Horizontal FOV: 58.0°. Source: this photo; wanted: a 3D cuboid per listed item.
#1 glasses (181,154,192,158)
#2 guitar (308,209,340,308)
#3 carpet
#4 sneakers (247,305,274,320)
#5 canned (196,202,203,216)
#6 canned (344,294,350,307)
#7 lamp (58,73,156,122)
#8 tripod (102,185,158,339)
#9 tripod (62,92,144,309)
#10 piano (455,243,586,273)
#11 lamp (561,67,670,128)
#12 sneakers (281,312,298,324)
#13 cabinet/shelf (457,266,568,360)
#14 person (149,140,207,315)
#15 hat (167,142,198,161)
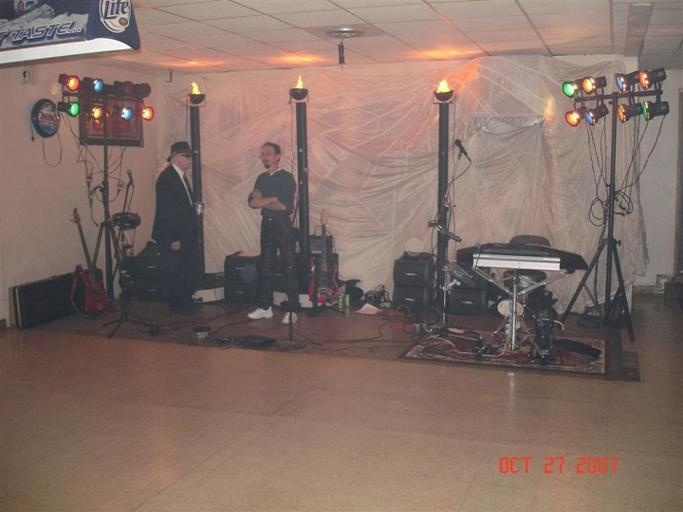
[{"bbox_3d":[-2.051,-1.335,8.237,0.024,0.045,0.105,22,18,25],"label":"glasses"},{"bbox_3d":[-0.219,0.044,7.948,0.389,1.206,0.687,-1,13,-2],"label":"guitar"},{"bbox_3d":[1.785,0.932,6.419,1.943,0.010,1.333,1,12,21],"label":"carpet"},{"bbox_3d":[-0.993,0.698,7.687,0.341,0.157,0.263,-4,13,-15],"label":"sneakers"},{"bbox_3d":[-1.892,-0.644,8.370,0.091,0.128,0.125,-1,-1,-2],"label":"canned"},{"bbox_3d":[0.086,0.589,8.207,0.059,0.153,0.168,-1,13,-1],"label":"canned"},{"bbox_3d":[-2.989,-2.014,7.819,1.112,0.540,0.749,-7,14,-24],"label":"lamp"},{"bbox_3d":[-2.654,0.150,7.597,0.632,1.294,2.032,-6,14,-20],"label":"tripod"},{"bbox_3d":[-3.181,-0.840,8.484,1.421,2.992,0.834,13,18,9],"label":"tripod"},{"bbox_3d":[1.817,0.021,6.275,1.290,0.318,0.353,2,13,13],"label":"piano"},{"bbox_3d":[3.145,-1.784,7.070,1.048,0.595,1.446,5,14,25],"label":"lamp"},{"bbox_3d":[-0.620,0.716,7.315,0.165,0.076,0.227,1,14,1],"label":"sneakers"},{"bbox_3d":[1.826,0.630,6.679,0.824,0.744,0.309,2,11,13],"label":"cabinet/shelf"},{"bbox_3d":[-2.138,-0.404,8.032,0.550,2.086,1.032,-4,13,-15],"label":"person"},{"bbox_3d":[-2.149,-1.389,8.168,0.354,0.145,0.307,-5,3,21],"label":"hat"}]
